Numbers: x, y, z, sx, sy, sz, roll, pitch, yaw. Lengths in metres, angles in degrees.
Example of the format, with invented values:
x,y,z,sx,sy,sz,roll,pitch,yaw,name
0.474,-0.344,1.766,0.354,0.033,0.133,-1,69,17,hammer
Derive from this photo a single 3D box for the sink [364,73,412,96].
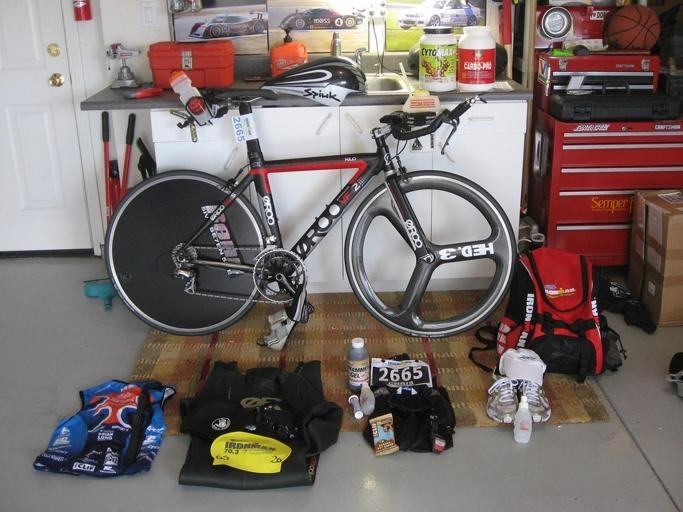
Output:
x,y,z,sx,sy,sz,roll,pitch,yaw,name
0.278,-0.998,3.256,0.203,0.107,0.259,1,37,2,sink

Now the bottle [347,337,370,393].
x,y,z,sx,sy,sz,roll,pitch,yaw,name
0.075,0.508,2.612,0.094,0.266,0.138,-3,21,-1,bottle

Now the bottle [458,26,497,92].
x,y,z,sx,sy,sz,roll,pitch,yaw,name
0.717,-1.042,2.953,0.200,0.321,0.123,2,21,11,bottle

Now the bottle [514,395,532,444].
x,y,z,sx,sy,sz,roll,pitch,yaw,name
0.780,0.682,2.380,0.077,0.182,0.140,6,23,21,bottle

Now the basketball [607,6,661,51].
x,y,z,sx,sy,sz,roll,pitch,yaw,name
1.792,-1.405,3.437,0.303,0.265,0.219,8,23,24,basketball

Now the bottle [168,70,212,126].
x,y,z,sx,sy,sz,roll,pitch,yaw,name
-0.731,-0.772,2.743,0.179,0.249,0.087,6,23,21,bottle

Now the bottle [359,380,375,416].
x,y,z,sx,sy,sz,roll,pitch,yaw,name
0.110,0.641,2.522,0.040,0.061,0.116,4,51,-19,bottle

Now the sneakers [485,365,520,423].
x,y,z,sx,sy,sz,roll,pitch,yaw,name
0.725,0.635,2.521,0.091,0.099,0.241,1,22,3,sneakers

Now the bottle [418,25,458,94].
x,y,z,sx,sy,sz,roll,pitch,yaw,name
0.516,-1.040,2.965,0.193,0.324,0.097,1,21,8,bottle

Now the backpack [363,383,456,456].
x,y,z,sx,sy,sz,roll,pitch,yaw,name
0.320,0.703,2.465,0.355,0.121,0.336,0,22,6,backpack

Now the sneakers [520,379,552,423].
x,y,z,sx,sy,sz,roll,pitch,yaw,name
0.856,0.634,2.528,0.091,0.103,0.259,-9,41,3,sneakers

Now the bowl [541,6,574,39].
x,y,z,sx,sy,sz,roll,pitch,yaw,name
1.386,-1.506,3.608,0.195,0.189,0.039,-5,21,-5,bowl

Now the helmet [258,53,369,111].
x,y,z,sx,sy,sz,roll,pitch,yaw,name
-0.129,-0.900,2.859,0.426,0.195,0.251,-4,30,-4,helmet
